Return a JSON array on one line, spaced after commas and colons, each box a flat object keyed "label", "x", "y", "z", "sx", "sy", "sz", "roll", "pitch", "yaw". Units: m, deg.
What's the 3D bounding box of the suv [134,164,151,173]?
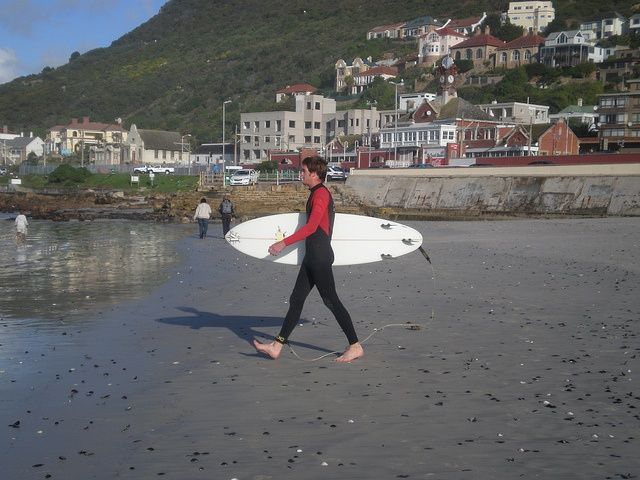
[{"label": "suv", "x": -32.537, "y": -12.884, "z": 204.664, "sx": 3.116, "sy": 1.126, "sz": 1.789, "roll": 1, "pitch": 3, "yaw": 18}]

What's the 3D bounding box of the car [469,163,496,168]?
[{"label": "car", "x": 24.212, "y": -11.326, "z": 171.187, "sx": 3.286, "sy": 0.864, "sz": 1.472, "roll": -6, "pitch": 7, "yaw": -35}]

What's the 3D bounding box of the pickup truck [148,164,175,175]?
[{"label": "pickup truck", "x": -28.781, "y": -12.806, "z": 204.809, "sx": 4.404, "sy": 1.112, "sz": 1.635, "roll": 2, "pitch": 3, "yaw": -6}]

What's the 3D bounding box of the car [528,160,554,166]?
[{"label": "car", "x": 32.836, "y": -11.463, "z": 168.641, "sx": 2.990, "sy": 0.626, "sz": 1.579, "roll": 2, "pitch": 4, "yaw": 25}]
